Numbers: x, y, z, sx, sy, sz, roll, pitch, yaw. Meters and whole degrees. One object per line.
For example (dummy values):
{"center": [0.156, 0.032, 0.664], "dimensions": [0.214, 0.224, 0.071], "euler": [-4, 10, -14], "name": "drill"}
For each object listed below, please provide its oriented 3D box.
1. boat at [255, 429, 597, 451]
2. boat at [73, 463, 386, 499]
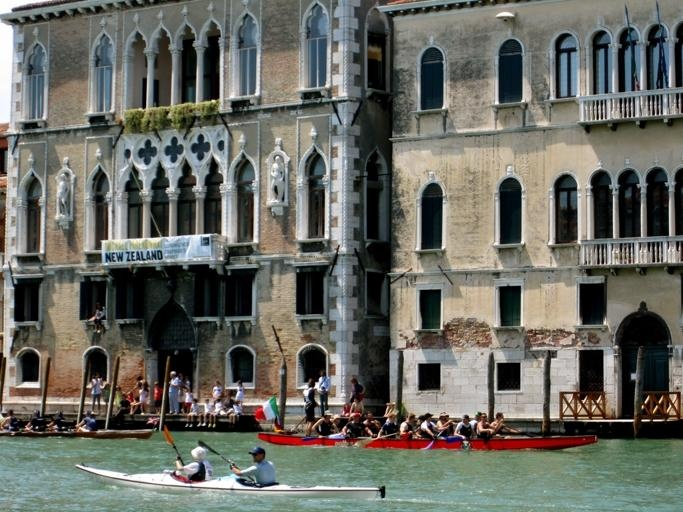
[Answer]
{"center": [3.600, 7.258, 83.620], "dimensions": [13.188, 0.860, 1.143], "euler": [-3, -7, 17], "name": "boat"}
{"center": [-3.980, 8.015, 74.776], "dimensions": [11.271, 1.156, 2.449], "euler": [-4, -8, 27], "name": "boat"}
